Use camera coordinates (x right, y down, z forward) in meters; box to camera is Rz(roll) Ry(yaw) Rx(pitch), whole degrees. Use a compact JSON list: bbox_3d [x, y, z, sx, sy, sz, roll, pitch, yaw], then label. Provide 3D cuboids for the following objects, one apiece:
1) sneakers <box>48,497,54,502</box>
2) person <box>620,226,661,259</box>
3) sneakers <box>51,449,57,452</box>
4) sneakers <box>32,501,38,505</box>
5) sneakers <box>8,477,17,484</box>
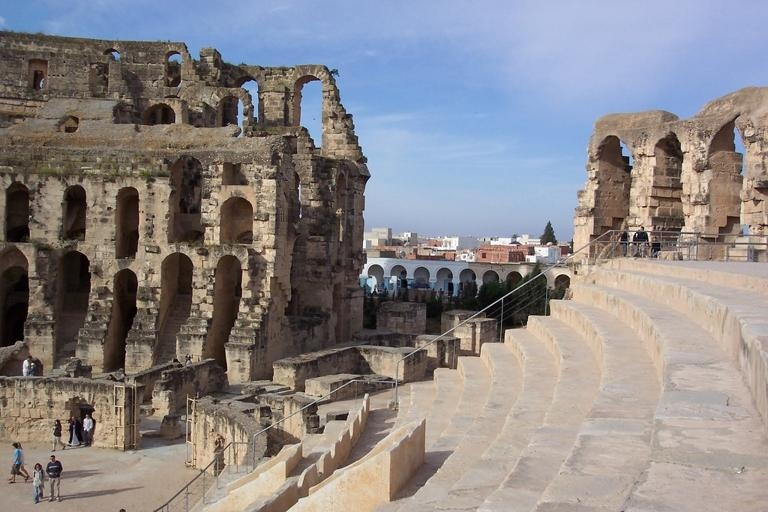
[{"bbox_3d":[-9.284,6.724,21.959,0.214,0.082,0.126,2,2,31],"label":"sneakers"},{"bbox_3d":[8.436,-0.395,25.647,1.216,0.731,1.186,-1,1,-13],"label":"person"},{"bbox_3d":[-10.391,6.067,24.762,0.194,0.115,0.063,3,-1,20],"label":"sneakers"},{"bbox_3d":[-9.662,6.781,21.821,0.171,0.056,0.094,2,2,23],"label":"sneakers"},{"bbox_3d":[-10.828,6.490,22.906,0.236,0.215,0.105,16,-25,-29],"label":"sneakers"}]
